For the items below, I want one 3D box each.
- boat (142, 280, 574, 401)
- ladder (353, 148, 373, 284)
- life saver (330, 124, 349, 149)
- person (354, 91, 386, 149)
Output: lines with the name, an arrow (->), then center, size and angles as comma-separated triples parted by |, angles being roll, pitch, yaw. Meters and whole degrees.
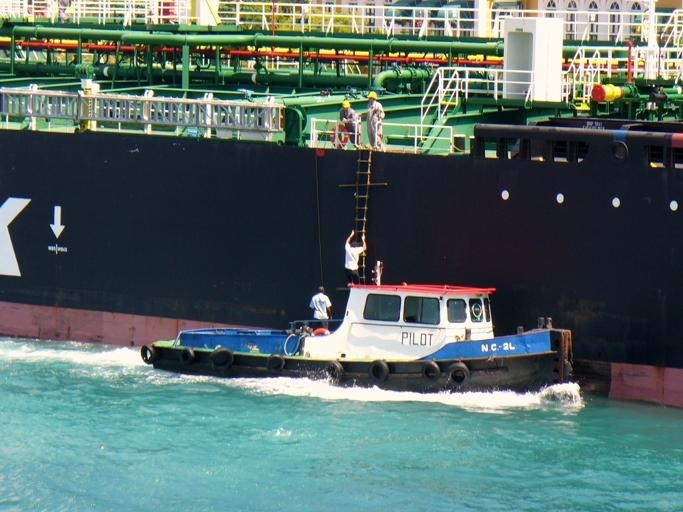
boat -> 0.989, 2.627, 43.896 | 10.786, 3.398, 4.313 | -1, 0, 17
ladder -> 0.645, -1.839, 44.727 | 0.563, 2.614, 0.170 | 1, 5, 8
life saver -> -0.026, -3.588, 45.596 | 0.612, 0.739, 0.250 | -1, 4, 9
person -> 1.103, -4.023, 45.393 | 0.721, 1.764, 0.851 | -5, 13, -33
